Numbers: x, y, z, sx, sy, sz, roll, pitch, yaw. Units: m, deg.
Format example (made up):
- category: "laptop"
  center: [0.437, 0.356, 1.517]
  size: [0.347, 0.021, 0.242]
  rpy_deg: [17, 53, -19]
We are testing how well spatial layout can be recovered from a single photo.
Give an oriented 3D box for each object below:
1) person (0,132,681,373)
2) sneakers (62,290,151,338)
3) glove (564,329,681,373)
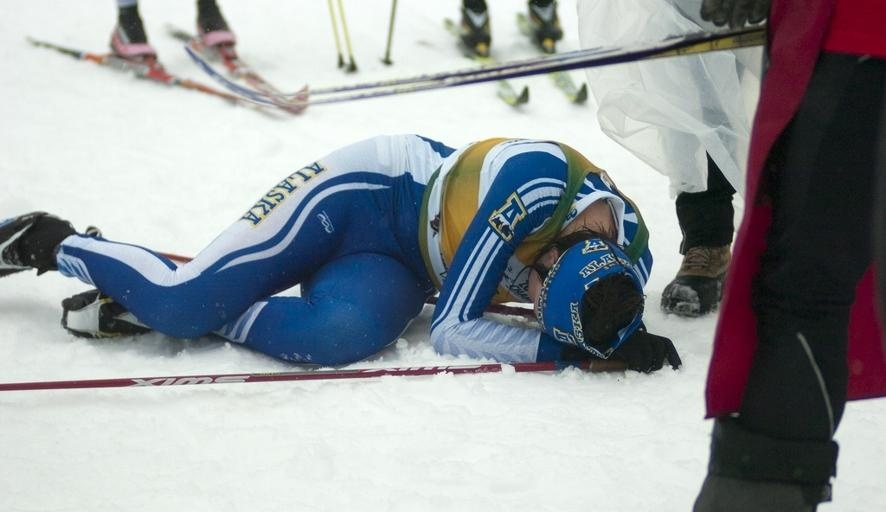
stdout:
- category: "person"
  center: [-0.980, -0.007, 4.658]
  size: [3.860, 1.077, 1.100]
  rpy_deg: [1, -18, 23]
- category: "sneakers"
  center: [-1.520, 0.272, 4.325]
  size: [0.357, 0.168, 0.130]
  rpy_deg: [3, 0, -12]
- category: "glove"
  center: [0.831, 0.422, 4.110]
  size: [0.278, 0.084, 0.260]
  rpy_deg: [-8, 28, -33]
